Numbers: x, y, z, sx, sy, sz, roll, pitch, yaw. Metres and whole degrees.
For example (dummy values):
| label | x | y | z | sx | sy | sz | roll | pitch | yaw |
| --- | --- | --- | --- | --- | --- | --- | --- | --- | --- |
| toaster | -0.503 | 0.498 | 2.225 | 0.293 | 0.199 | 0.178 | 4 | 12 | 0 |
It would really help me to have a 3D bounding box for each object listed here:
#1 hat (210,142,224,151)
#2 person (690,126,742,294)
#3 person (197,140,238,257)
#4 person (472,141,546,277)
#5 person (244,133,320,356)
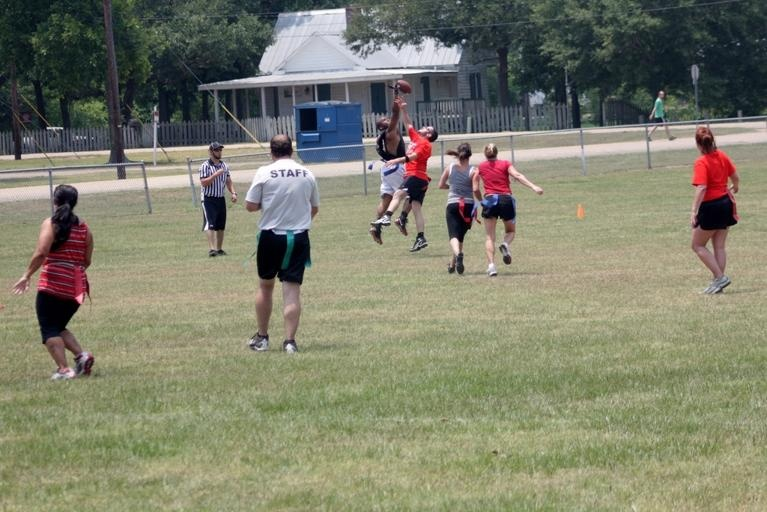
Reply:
| label | x | y | z | sx | sy | sz | roll | pitch | yaw |
| --- | --- | --- | --- | --- | --- | --- | --- | --- | --- |
| hat | -4.329 | -2.848 | 35.540 | 0.267 | 0.208 | 0.365 | 2 | -3 | -40 |
| person | 7.200 | -1.020 | 30.631 | 0.992 | 3.634 | 0.545 | -3 | 7 | 3 |
| person | -4.312 | -1.495 | 36.058 | 0.817 | 2.921 | 1.210 | -4 | 7 | -7 |
| person | 2.713 | -1.111 | 32.817 | 1.177 | 3.056 | 0.923 | -3 | 7 | 8 |
| person | -2.054 | -0.247 | 28.338 | 1.427 | 4.391 | 0.457 | -4 | 7 | -6 |
